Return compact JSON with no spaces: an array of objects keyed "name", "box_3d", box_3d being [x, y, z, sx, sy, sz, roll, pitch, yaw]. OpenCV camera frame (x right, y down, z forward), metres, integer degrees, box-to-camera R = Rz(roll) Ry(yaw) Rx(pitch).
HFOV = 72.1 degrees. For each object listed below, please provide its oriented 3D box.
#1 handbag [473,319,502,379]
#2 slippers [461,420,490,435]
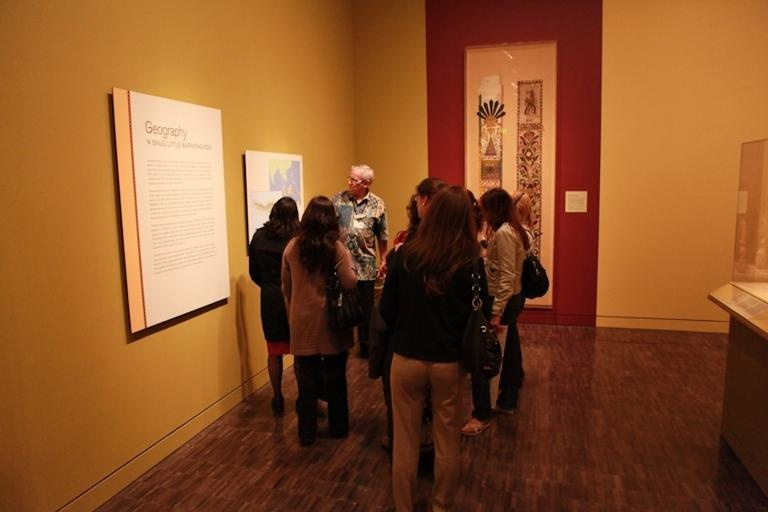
[{"name":"handbag","box_3d":[0.716,0.665,3.629,0.143,0.426,0.294,9,17,36]},{"name":"slippers","box_3d":[0.832,1.553,4.816,0.223,0.081,0.099,-2,-2,-29]}]
